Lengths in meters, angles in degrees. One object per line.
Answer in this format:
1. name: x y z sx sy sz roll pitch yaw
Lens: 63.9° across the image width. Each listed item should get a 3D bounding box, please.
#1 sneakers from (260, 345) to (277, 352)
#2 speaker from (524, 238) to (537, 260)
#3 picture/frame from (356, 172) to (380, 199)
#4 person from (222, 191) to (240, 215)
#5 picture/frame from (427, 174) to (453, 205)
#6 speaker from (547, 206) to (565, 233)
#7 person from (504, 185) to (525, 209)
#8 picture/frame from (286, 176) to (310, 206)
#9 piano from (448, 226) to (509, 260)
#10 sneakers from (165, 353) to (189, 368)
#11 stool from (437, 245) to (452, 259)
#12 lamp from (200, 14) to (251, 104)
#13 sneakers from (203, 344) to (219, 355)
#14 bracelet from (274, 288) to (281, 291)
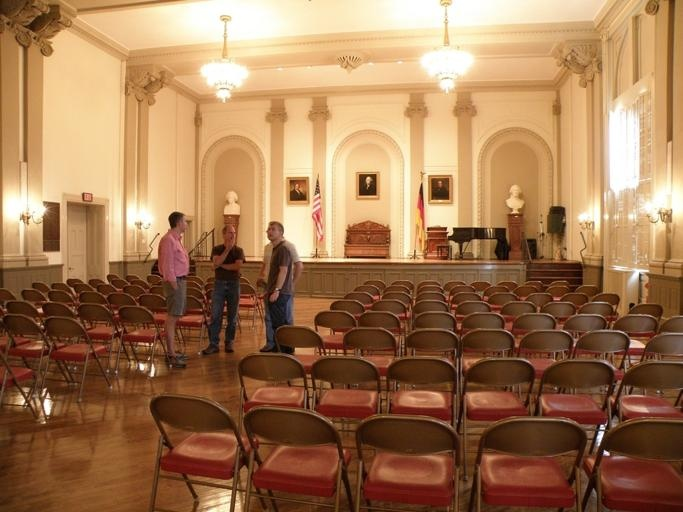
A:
1. sneakers: -1.020 1.300 7.673 0.270 0.122 0.134 3 -5 -1
2. speaker: 5.835 -0.236 16.741 0.330 0.650 1.890 0 1 20
3. picture/frame: 0.922 -2.408 18.475 0.784 0.942 0.062 1 8 9
4. person: -3.755 -1.785 18.598 0.518 0.853 0.633 -1 1 -9
5. picture/frame: 3.178 -2.171 17.605 0.837 1.080 0.076 1 0 1
6. speaker: 6.489 -1.103 16.502 0.482 0.839 0.753 0 1 33
7. person: 5.524 -1.879 17.352 0.683 1.029 0.553 1 -6 2
8. picture/frame: -1.441 -2.207 18.278 0.868 1.122 0.044 0 1 5
9. piano: 4.022 -0.464 15.917 1.455 0.946 1.055 1 -1 6
10. sneakers: -2.219 1.408 7.354 0.342 0.155 0.132 0 0 5
11. stool: 3.057 -0.130 16.168 0.461 0.505 0.497 0 -4 4
12. lamp: -2.552 -4.342 11.916 0.929 1.701 0.919 -1 2 -42
13. sneakers: -1.916 1.372 7.992 0.222 0.168 0.103 9 -10 -30
14. bracelet: -0.861 0.440 7.255 0.046 0.055 0.057 2 -4 2
